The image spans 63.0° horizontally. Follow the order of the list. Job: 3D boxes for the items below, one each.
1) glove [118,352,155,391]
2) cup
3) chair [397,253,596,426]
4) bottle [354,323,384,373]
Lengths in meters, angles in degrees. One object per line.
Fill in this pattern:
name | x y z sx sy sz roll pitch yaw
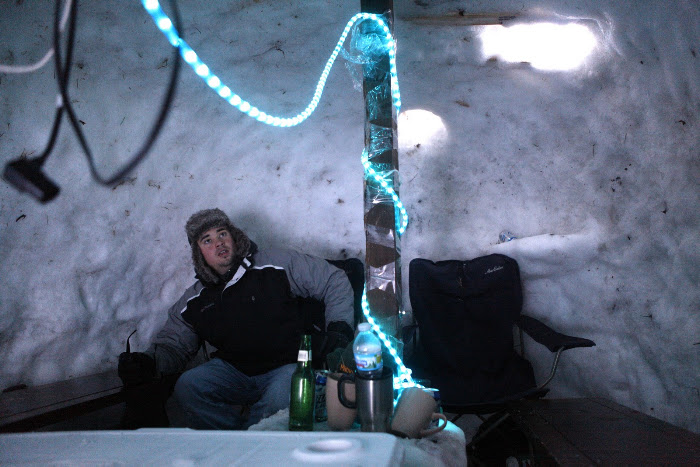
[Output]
glove | -1.309 0.814 3.467 0.243 0.175 0.228 -1 -1 22
cup | 0.199 0.847 2.967 0.567 0.380 0.303 0 -4 7
chair | 0.945 0.678 4.032 1.193 1.107 1.037 -4 -15 8
bottle | 0.092 0.596 2.888 0.146 0.245 0.147 -3 5 0
